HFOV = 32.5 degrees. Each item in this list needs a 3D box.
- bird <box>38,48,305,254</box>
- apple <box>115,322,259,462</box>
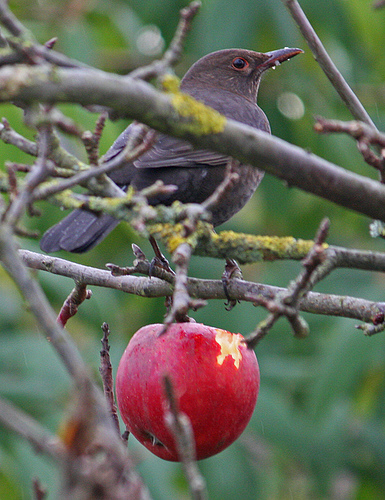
[{"bbox_3d":[-0.086,-0.500,3.490,1.462,1.072,0.713,-10,4,-26],"label":"bird"},{"bbox_3d":[0.012,0.436,2.083,0.452,0.429,0.427,-3,-1,7],"label":"apple"}]
